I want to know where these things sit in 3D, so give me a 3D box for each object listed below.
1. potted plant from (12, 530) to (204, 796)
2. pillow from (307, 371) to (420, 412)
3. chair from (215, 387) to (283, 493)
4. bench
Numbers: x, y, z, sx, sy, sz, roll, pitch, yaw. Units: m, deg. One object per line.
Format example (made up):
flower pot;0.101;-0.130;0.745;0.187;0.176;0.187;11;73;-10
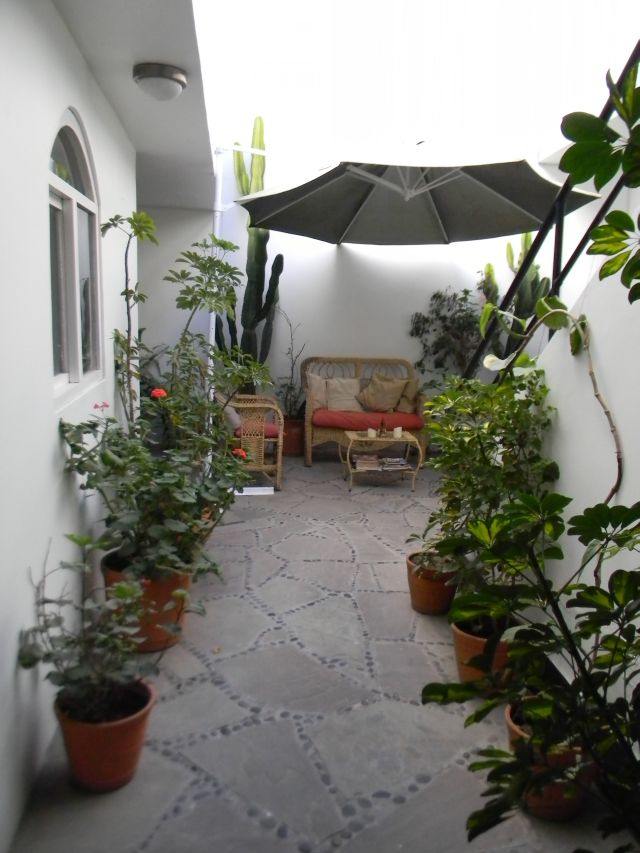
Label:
potted plant;-0.667;0.727;2.014;0.506;0.731;0.558;-1;11;-33
pillow;0.453;-0.376;7.177;1.419;0.428;0.631;-1;10;-26
chair;-0.558;0.108;5.693;0.694;0.862;0.687;2;10;-2
bench;0.549;0.139;7.237;1.832;1.478;1.159;0;9;-6
